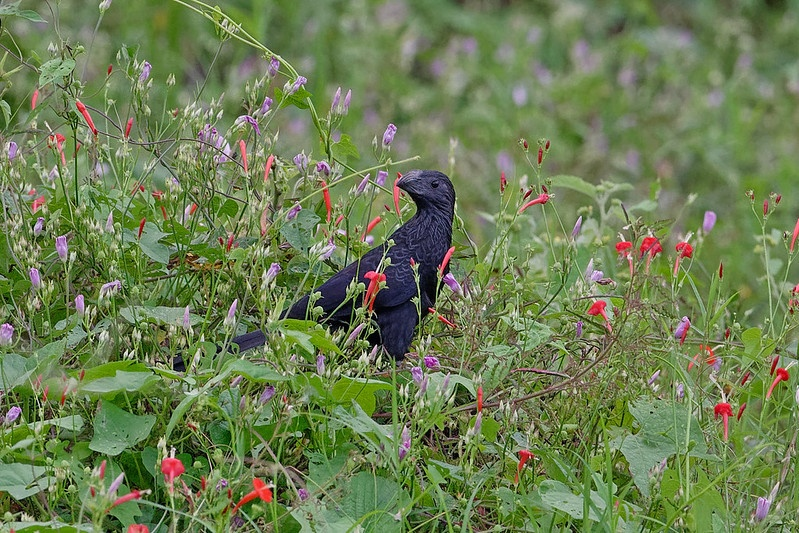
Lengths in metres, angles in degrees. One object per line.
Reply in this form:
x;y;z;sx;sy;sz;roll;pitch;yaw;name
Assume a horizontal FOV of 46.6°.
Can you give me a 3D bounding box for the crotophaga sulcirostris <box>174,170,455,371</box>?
-0.231;0.061;3.143;1.056;0.714;0.266;-8;-8;-21;crotophaga sulcirostris
